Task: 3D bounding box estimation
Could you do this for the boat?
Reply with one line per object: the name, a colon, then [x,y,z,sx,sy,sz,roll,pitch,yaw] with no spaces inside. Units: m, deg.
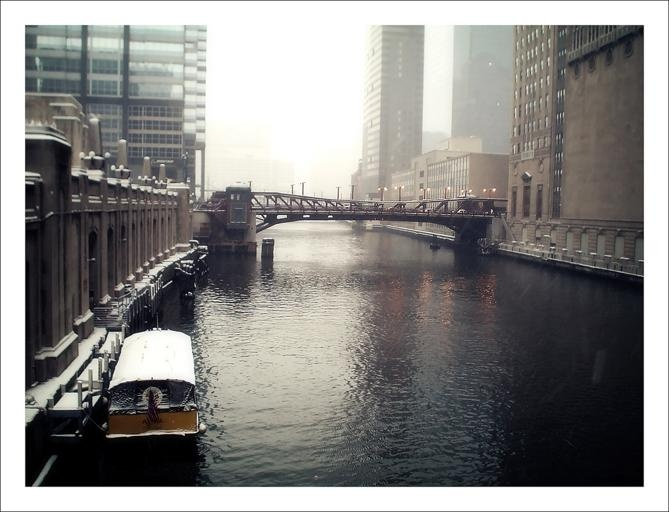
boat: [-7.944,5.465,27.339,3.670,3.371,5.380,-2,9,-17]
